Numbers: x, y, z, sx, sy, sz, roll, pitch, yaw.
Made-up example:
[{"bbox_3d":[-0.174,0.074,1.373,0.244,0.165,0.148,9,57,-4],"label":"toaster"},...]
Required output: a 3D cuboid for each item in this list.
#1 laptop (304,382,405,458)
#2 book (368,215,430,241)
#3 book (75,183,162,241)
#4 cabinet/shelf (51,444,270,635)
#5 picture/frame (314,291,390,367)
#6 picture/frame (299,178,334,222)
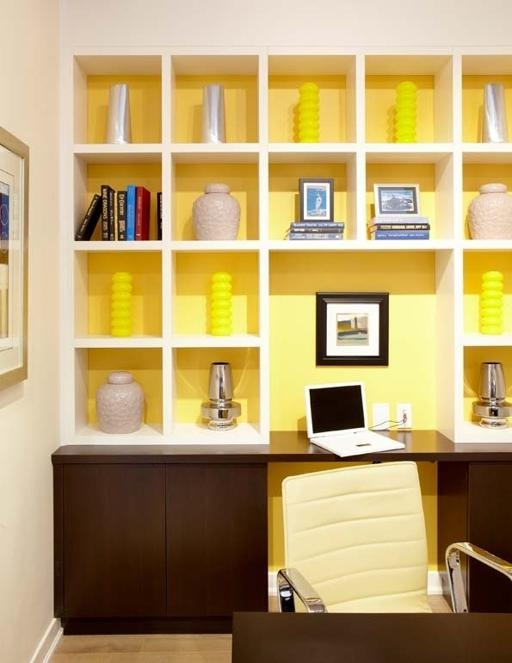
[{"bbox_3d":[0.392,0.351,2.580,0.327,0.267,0.322,0,-2,-18],"label":"laptop"},{"bbox_3d":[0.586,-0.428,2.650,0.238,0.110,0.119,-1,-2,15],"label":"book"},{"bbox_3d":[-0.576,-0.495,2.717,0.348,0.257,0.326,-1,-2,-11],"label":"book"},{"bbox_3d":[-0.363,0.772,2.431,0.554,0.613,0.220,1,2,-2],"label":"cabinet/shelf"},{"bbox_3d":[0.425,-0.016,2.846,0.244,0.330,0.020,0,0,0],"label":"picture/frame"},{"bbox_3d":[0.251,-0.551,2.677,0.133,0.227,0.019,1,-9,-3],"label":"picture/frame"}]
